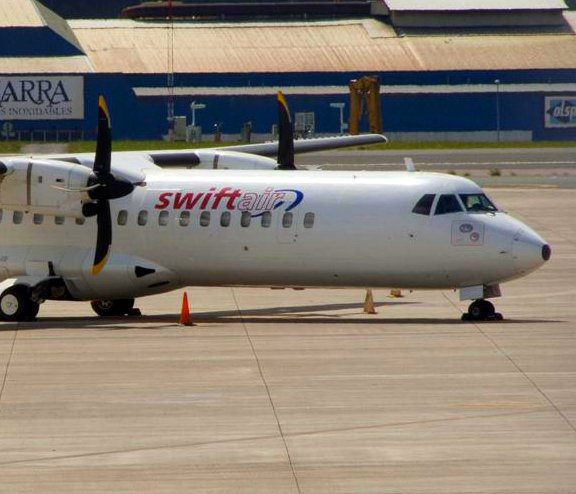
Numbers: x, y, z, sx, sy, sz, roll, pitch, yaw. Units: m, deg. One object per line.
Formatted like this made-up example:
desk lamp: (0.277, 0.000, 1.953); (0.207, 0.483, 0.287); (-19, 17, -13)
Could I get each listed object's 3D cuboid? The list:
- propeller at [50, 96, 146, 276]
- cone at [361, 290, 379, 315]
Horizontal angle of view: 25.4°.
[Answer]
propeller: (-4.212, -1.367, 29.429); (0.903, 4.111, 1.543); (8, 16, 30)
cone: (2.017, 1.324, 31.583); (0.431, 0.742, 0.953); (1, 13, 3)
